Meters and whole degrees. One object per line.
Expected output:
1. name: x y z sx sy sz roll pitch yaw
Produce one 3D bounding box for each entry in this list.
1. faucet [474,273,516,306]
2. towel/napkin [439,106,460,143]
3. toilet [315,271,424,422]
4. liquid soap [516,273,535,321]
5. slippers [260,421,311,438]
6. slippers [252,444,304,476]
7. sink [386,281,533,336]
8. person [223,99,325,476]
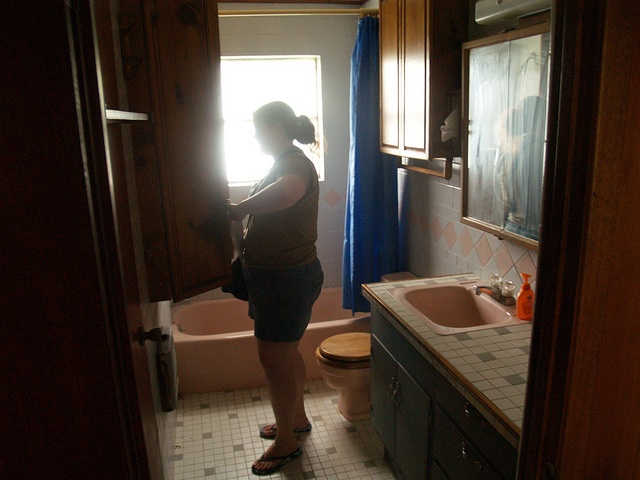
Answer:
1. faucet: 0.782 0.207 2.322 0.068 0.103 0.244 -8 18 -19
2. towel/napkin: 0.577 -0.537 2.335 0.064 0.176 0.103 -7 33 -6
3. toilet: 0.243 0.610 2.941 0.487 0.777 0.324 -3 11 -20
4. liquid soap: 0.841 0.220 2.128 0.058 0.170 0.195 3 14 20
5. slippers: -0.180 1.014 2.856 0.250 0.079 0.107 1 8 -11
6. slippers: -0.215 1.105 2.606 0.215 0.065 0.094 -6 9 -33
7. sink: 0.577 0.306 2.379 0.243 0.135 0.309 -4 15 -14
8. person: -0.211 0.259 2.463 0.361 1.773 0.610 4 14 23
